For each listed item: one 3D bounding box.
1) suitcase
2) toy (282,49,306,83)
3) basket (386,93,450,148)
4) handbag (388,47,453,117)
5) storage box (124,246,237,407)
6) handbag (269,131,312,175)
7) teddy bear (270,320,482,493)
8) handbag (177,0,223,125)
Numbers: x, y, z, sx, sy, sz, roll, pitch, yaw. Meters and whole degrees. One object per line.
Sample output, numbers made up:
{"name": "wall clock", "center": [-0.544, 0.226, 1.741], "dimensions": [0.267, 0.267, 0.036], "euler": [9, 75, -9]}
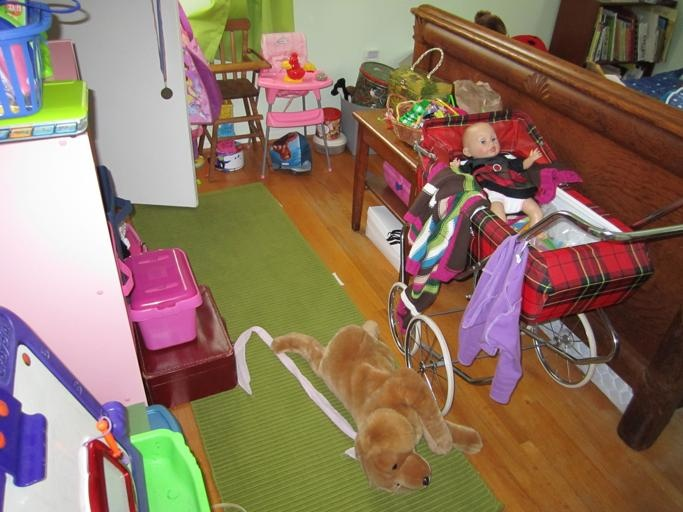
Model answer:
{"name": "suitcase", "center": [-0.810, 0.420, 2.657], "dimensions": [0.431, 0.308, 0.626], "euler": [-11, 44, -19]}
{"name": "toy", "center": [-0.352, -1.388, 3.857], "dimensions": [0.135, 0.173, 0.193], "euler": [-8, 31, -7]}
{"name": "basket", "center": [0.434, -0.757, 3.142], "dimensions": [0.357, 0.165, 0.362], "euler": [29, 60, 27]}
{"name": "handbag", "center": [0.435, -1.085, 3.268], "dimensions": [0.243, 0.379, 0.244], "euler": [14, 21, 5]}
{"name": "storage box", "center": [-0.821, 0.241, 2.611], "dimensions": [0.447, 0.297, 0.748], "euler": [-9, 44, -20]}
{"name": "handbag", "center": [-0.415, -0.838, 4.284], "dimensions": [0.343, 0.350, 0.265], "euler": [7, 23, 12]}
{"name": "teddy bear", "center": [0.114, 0.590, 2.410], "dimensions": [0.529, 0.325, 0.829], "euler": [-23, 58, -21]}
{"name": "handbag", "center": [-0.959, -1.248, 3.537], "dimensions": [0.240, 0.812, 0.338], "euler": [-10, 30, -12]}
